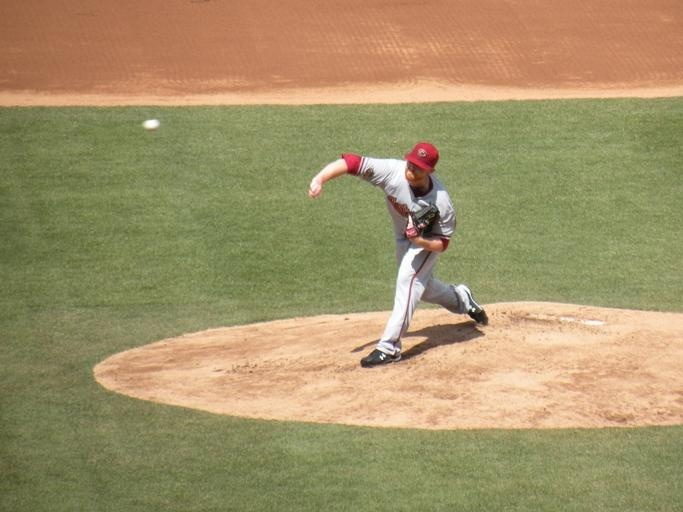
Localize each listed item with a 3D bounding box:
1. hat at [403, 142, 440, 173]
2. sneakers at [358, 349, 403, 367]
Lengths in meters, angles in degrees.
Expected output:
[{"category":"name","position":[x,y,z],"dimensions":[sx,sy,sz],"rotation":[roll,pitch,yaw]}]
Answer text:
[{"category":"hat","position":[1.333,-1.508,21.951],"dimensions":[0.369,0.290,0.517],"rotation":[34,14,27]},{"category":"sneakers","position":[0.608,1.577,22.180],"dimensions":[0.644,0.252,0.250],"rotation":[-4,0,-9]}]
